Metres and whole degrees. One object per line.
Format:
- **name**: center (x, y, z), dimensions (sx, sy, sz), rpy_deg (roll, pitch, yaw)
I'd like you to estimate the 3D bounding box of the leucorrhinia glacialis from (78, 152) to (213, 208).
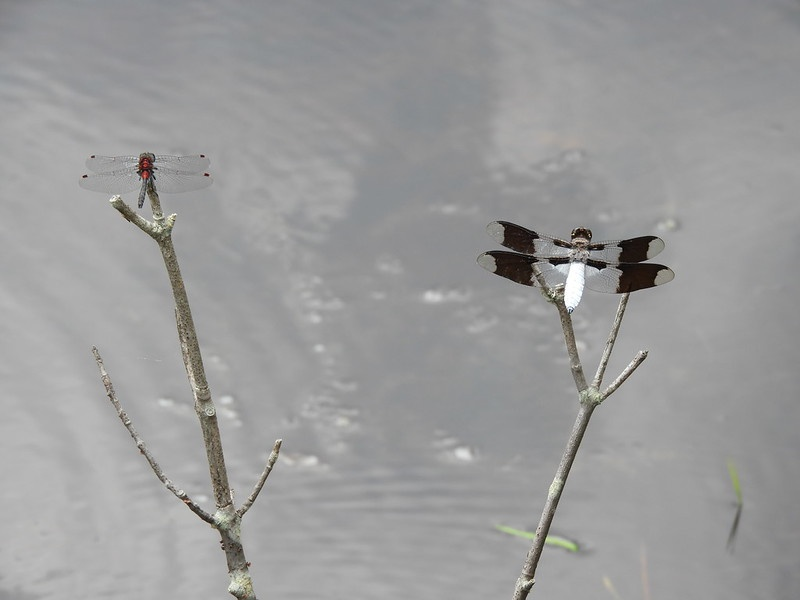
- **leucorrhinia glacialis**: center (-1.189, -0.601, 5.359), dimensions (0.619, 0.212, 0.294), rpy_deg (-4, -62, -7)
